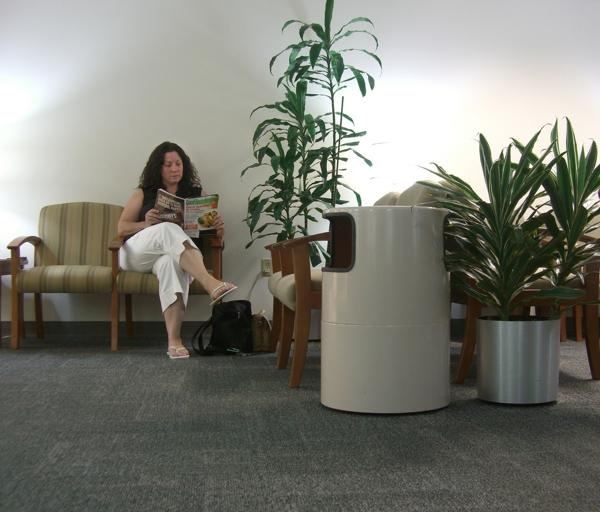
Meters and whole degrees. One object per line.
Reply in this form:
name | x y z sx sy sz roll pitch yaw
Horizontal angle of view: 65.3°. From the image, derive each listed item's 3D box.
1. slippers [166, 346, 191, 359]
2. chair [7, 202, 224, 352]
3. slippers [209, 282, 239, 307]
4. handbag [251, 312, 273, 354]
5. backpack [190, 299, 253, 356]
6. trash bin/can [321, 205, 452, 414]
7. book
slippers | -0.683 0.540 2.636 0.124 0.063 0.138 1 -3 -16
chair | -1.260 0.118 3.090 0.849 0.723 0.395 0 -2 -8
slippers | -0.476 0.234 2.873 0.220 0.083 0.085 -44 -5 9
handbag | -0.223 0.480 3.071 0.169 0.356 0.255 -1 0 -2
backpack | -0.473 0.433 2.926 0.320 0.361 0.309 -1 1 0
trash bin/can | 0.283 0.191 2.065 0.564 1.012 0.635 1 -3 -21
book | -0.731 -0.260 2.971 0.303 0.307 0.025 3 8 -7
